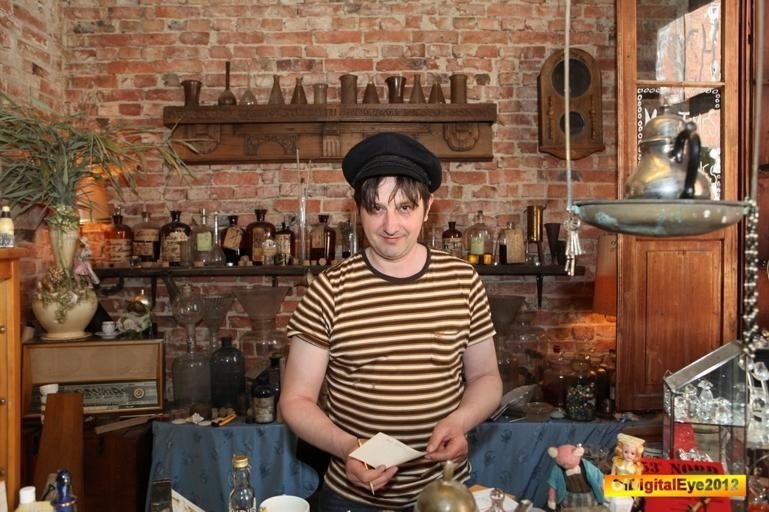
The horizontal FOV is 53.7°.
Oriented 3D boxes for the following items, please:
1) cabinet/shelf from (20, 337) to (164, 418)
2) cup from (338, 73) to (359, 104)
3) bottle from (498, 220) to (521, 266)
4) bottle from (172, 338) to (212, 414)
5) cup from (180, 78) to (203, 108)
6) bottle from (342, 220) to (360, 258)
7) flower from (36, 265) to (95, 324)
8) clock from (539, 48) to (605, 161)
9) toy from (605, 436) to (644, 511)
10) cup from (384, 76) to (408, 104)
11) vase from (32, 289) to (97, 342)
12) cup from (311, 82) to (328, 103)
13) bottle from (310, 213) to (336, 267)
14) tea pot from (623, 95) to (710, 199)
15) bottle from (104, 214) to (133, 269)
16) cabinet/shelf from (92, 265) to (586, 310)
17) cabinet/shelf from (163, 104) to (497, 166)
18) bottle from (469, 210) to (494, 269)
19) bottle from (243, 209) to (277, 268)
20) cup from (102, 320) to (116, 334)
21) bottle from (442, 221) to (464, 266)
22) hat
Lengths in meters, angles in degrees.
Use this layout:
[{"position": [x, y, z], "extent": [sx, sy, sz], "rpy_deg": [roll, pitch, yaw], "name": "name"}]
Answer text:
[{"position": [-1.680, 0.730, 4.354], "extent": [0.796, 0.429, 0.432], "rpy_deg": [3, -14, -40], "name": "cabinet/shelf"}, {"position": [-0.222, -1.049, 4.775], "extent": [0.102, 0.203, 0.093], "rpy_deg": [-1, -2, 0], "name": "cup"}, {"position": [0.833, -0.091, 4.758], "extent": [0.133, 0.215, 0.130], "rpy_deg": [-15, -1, 0], "name": "bottle"}, {"position": [-1.139, 0.725, 4.519], "extent": [0.214, 0.321, 0.070], "rpy_deg": [-1, -2, -13], "name": "bottle"}, {"position": [-1.188, -1.020, 4.798], "extent": [0.166, 0.207, 0.182], "rpy_deg": [1, -1, 0], "name": "cup"}, {"position": [-0.189, -0.100, 4.764], "extent": [0.149, 0.225, 0.129], "rpy_deg": [0, 0, -21], "name": "bottle"}, {"position": [-1.797, 0.209, 4.253], "extent": [0.311, 0.162, 0.335], "rpy_deg": [1, 2, -9], "name": "flower"}, {"position": [1.183, -0.970, 4.839], "extent": [0.403, 0.697, 0.234], "rpy_deg": [-2, -2, 15], "name": "clock"}, {"position": [0.999, 0.909, 3.150], "extent": [0.155, 0.310, 0.385], "rpy_deg": [-2, -3, 16], "name": "toy"}, {"position": [0.076, -1.050, 4.751], "extent": [0.168, 0.189, 0.165], "rpy_deg": [1, -4, 0], "name": "cup"}, {"position": [-1.870, 0.335, 4.404], "extent": [0.414, 0.285, 0.402], "rpy_deg": [0, -5, -25], "name": "vase"}, {"position": [-0.397, -1.026, 4.855], "extent": [0.112, 0.156, 0.146], "rpy_deg": [2, -4, -17], "name": "cup"}, {"position": [-0.392, -0.102, 4.760], "extent": [0.193, 0.306, 0.183], "rpy_deg": [4, 8, -1], "name": "bottle"}, {"position": [1.094, -0.384, 2.894], "extent": [0.312, 0.413, 0.422], "rpy_deg": [-6, 11, -1], "name": "tea pot"}, {"position": [-1.663, -0.107, 4.728], "extent": [0.251, 0.315, 0.241], "rpy_deg": [2, 2, 0], "name": "bottle"}, {"position": [-0.638, 0.224, 4.710], "extent": [2.589, 0.289, 0.211], "rpy_deg": [-1, 14, 15], "name": "cabinet/shelf"}, {"position": [-0.324, -0.794, 4.799], "extent": [2.084, 0.388, 0.275], "rpy_deg": [-1, 19, 0], "name": "cabinet/shelf"}, {"position": [0.604, -0.112, 4.766], "extent": [0.205, 0.334, 0.198], "rpy_deg": [1, 1, 0], "name": "bottle"}, {"position": [-0.780, -0.120, 4.824], "extent": [0.250, 0.348, 0.253], "rpy_deg": [0, 4, 0], "name": "bottle"}, {"position": [-1.579, 0.412, 4.408], "extent": [0.088, 0.066, 0.069], "rpy_deg": [1, -4, 11], "name": "cup"}, {"position": [0.418, -0.092, 4.823], "extent": [0.174, 0.279, 0.168], "rpy_deg": [2, -1, 0], "name": "bottle"}, {"position": [0.028, -0.372, 3.338], "extent": [0.459, 0.171, 0.460], "rpy_deg": [-4, -18, 14], "name": "hat"}]
